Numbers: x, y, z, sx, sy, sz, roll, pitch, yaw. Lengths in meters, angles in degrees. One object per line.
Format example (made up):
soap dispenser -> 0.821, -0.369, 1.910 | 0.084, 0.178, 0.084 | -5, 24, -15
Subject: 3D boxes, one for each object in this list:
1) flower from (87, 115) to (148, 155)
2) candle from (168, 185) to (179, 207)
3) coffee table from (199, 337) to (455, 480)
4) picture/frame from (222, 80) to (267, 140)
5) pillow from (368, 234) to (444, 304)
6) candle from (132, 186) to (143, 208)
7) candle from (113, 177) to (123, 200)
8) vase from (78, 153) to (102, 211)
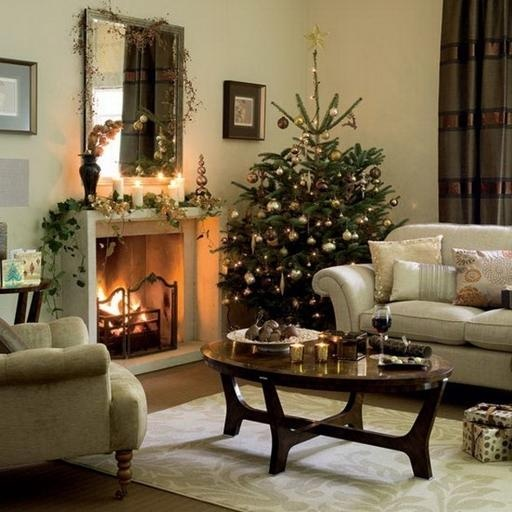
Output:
flower -> -0.940, -0.810, 3.471 | 0.364, 0.138, 0.161 | -30, 57, -29
candle -> -0.601, -0.453, 3.782 | 0.076, 0.194, 0.297 | 0, 0, -9
coffee table -> 0.245, 0.614, 2.154 | 1.012, 0.449, 0.644 | 0, 0, 37
picture/frame -> -0.121, -1.245, 4.434 | 0.087, 0.557, 0.644 | 2, 1, 42
pillow -> 0.945, 0.093, 3.299 | 0.466, 0.400, 0.146 | 1, -24, -1
candle -> -0.805, -0.396, 3.535 | 0.069, 0.137, 0.122 | 0, 0, -11
candle -> -0.908, -0.446, 3.431 | 0.064, 0.159, 0.150 | 0, 0, -16
vase -> -1.057, -0.488, 3.314 | 0.121, 0.351, 0.241 | 0, 0, -21
